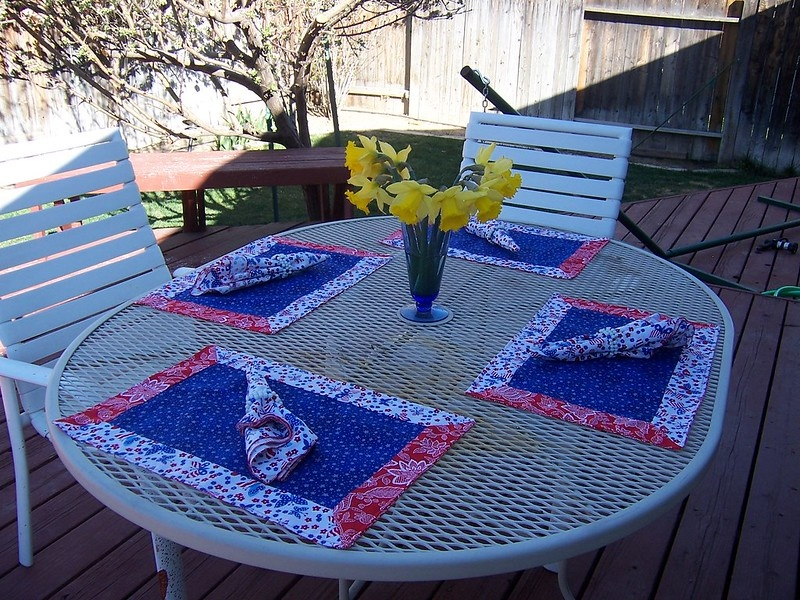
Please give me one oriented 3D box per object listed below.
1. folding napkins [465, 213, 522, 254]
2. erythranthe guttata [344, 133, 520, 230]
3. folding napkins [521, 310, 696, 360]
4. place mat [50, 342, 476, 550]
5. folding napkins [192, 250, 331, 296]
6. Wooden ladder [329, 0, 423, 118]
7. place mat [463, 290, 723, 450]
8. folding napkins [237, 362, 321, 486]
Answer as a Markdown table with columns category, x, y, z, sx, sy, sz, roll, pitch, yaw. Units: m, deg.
| category | x | y | z | sx | sy | sz | roll | pitch | yaw |
| --- | --- | --- | --- | --- | --- | --- | --- | --- | --- |
| folding napkins | 0.318 | -0.234 | 1.928 | 0.114 | 0.054 | 0.200 | -11 | 28 | -35 |
| erythranthe guttata | 0.066 | -0.270 | 1.322 | 0.315 | 0.186 | 0.292 | 15 | 20 | 27 |
| folding napkins | 0.435 | 0.091 | 1.315 | 0.437 | 0.114 | 0.126 | -5 | 17 | 1 |
| place mat | -0.263 | 0.245 | 1.097 | 0.713 | 0.085 | 0.375 | 9 | 25 | 24 |
| folding napkins | -0.382 | -0.086 | 1.626 | 0.325 | 0.076 | 0.129 | -6 | 28 | -11 |
| Wooden ladder | -0.358 | -3.528 | 8.575 | 1.295 | 1.324 | 0.704 | 1 | 24 | 9 |
| place mat | 0.408 | 0.181 | 1.204 | 0.349 | 0.016 | 0.388 | 12 | 28 | 29 |
| folding napkins | -0.240 | 0.249 | 1.048 | 0.105 | 0.067 | 0.169 | -35 | 42 | -24 |
